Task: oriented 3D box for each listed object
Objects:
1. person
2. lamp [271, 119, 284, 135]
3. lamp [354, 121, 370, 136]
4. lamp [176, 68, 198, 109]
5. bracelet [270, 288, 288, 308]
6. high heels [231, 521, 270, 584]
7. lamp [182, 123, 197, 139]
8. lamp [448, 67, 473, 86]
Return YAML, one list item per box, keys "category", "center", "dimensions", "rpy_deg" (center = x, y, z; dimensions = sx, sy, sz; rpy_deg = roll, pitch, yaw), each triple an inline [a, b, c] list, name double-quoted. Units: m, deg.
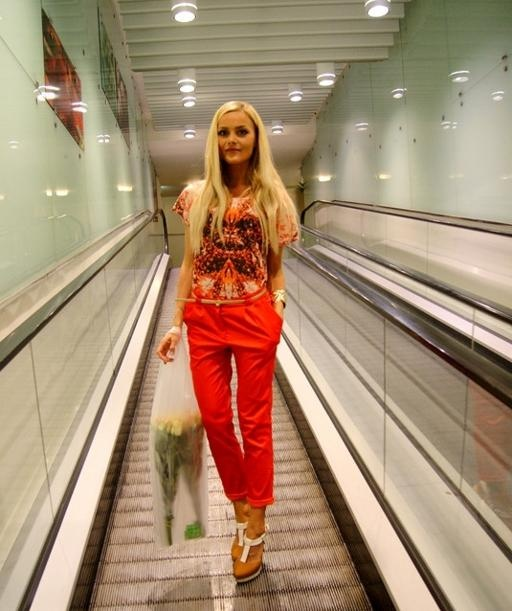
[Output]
- category: "person"
  center: [-0.053, 0.107, 1.373]
  dimensions: [0.431, 1.465, 0.230]
  rpy_deg: [-1, 0, 0]
- category: "lamp"
  center: [0.687, -5.953, 12.599]
  dimensions: [0.306, 0.389, 0.355]
  rpy_deg: [0, 2, 12]
- category: "lamp"
  center: [2.517, -4.134, 8.703]
  dimensions: [0.265, 0.218, 0.306]
  rpy_deg: [1, 4, -10]
- category: "lamp"
  center: [-1.539, -4.794, 8.288]
  dimensions: [0.411, 0.883, 0.812]
  rpy_deg: [0, -24, -4]
- category: "bracelet"
  center: [0.100, -0.022, 1.515]
  dimensions: [0.043, 0.074, 0.052]
  rpy_deg: [0, -35, -8]
- category: "high heels"
  center: [-0.017, 0.877, 1.323]
  dimensions: [0.062, 0.098, 0.216]
  rpy_deg: [-2, -9, 8]
- category: "lamp"
  center: [-2.221, -5.684, 12.424]
  dimensions: [0.356, 0.451, 0.425]
  rpy_deg: [-1, -24, -9]
- category: "lamp"
  center: [2.823, -3.138, 5.142]
  dimensions: [0.069, 0.179, 0.215]
  rpy_deg: [-15, 15, -17]
